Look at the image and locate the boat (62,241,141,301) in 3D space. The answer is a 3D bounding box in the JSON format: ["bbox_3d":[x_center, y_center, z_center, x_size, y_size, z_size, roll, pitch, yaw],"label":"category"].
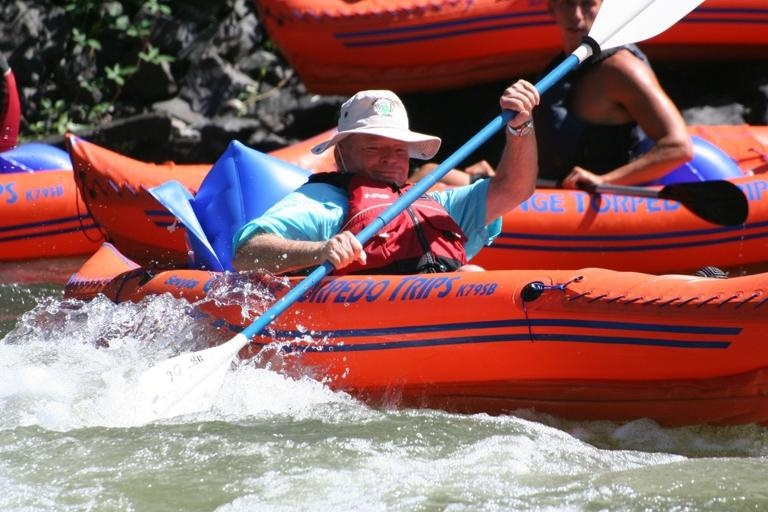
[{"bbox_3d":[-1.614,0.124,6.126,0.293,0.099,0.444,4,32,31],"label":"boat"}]

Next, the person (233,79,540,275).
[{"bbox_3d":[-0.067,-0.323,5.426,1.478,0.534,1.185,-6,4,-25],"label":"person"}]

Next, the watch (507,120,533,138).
[{"bbox_3d":[0.693,-0.638,5.370,0.107,0.089,0.108,-15,-30,29],"label":"watch"}]

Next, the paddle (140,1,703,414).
[{"bbox_3d":[0.329,-0.270,5.852,4.959,0.581,0.189,-35,16,-25],"label":"paddle"}]

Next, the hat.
[{"bbox_3d":[0.005,-0.693,5.499,0.481,0.200,0.496,2,-7,-31],"label":"hat"}]
